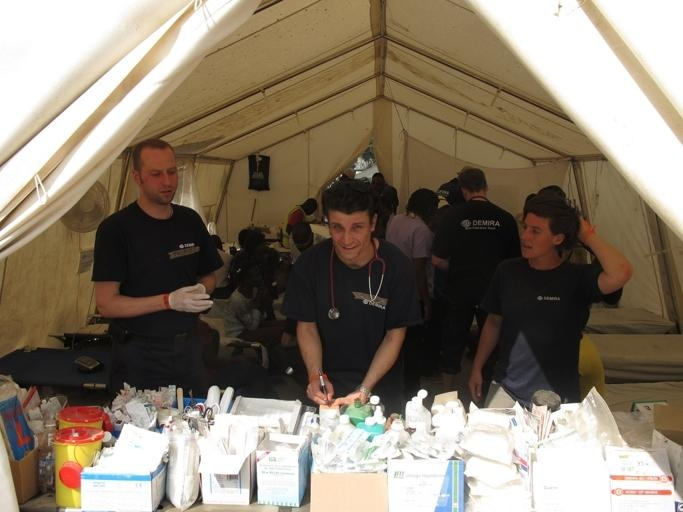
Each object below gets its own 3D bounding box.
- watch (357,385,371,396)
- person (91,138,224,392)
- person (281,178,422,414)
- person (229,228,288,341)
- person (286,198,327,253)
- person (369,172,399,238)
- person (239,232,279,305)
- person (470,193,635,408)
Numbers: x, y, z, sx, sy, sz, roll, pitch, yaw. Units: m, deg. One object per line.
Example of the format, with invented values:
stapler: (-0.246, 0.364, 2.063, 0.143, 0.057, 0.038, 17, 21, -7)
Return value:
watch: (0.103, 0.600, 2.577, 0.049, 0.045, 0.063, 9, -8, -6)
person: (-0.969, 0.072, 3.045, 0.643, 1.282, 0.501, 6, -9, -12)
person: (0.031, 0.287, 2.842, 0.648, 1.241, 0.673, 4, 31, 10)
person: (-0.691, 0.288, 4.893, 0.520, 0.917, 0.343, 5, -11, -17)
person: (-0.515, -0.379, 7.557, 0.433, 0.771, 0.319, -11, 25, -40)
person: (0.420, -0.481, 5.999, 0.270, 0.253, 0.879, 13, -47, 24)
person: (-0.774, 0.045, 5.123, 0.216, 0.777, 0.364, -8, -17, 8)
person: (1.084, 0.239, 3.078, 0.817, 1.120, 0.408, 0, -10, 26)
